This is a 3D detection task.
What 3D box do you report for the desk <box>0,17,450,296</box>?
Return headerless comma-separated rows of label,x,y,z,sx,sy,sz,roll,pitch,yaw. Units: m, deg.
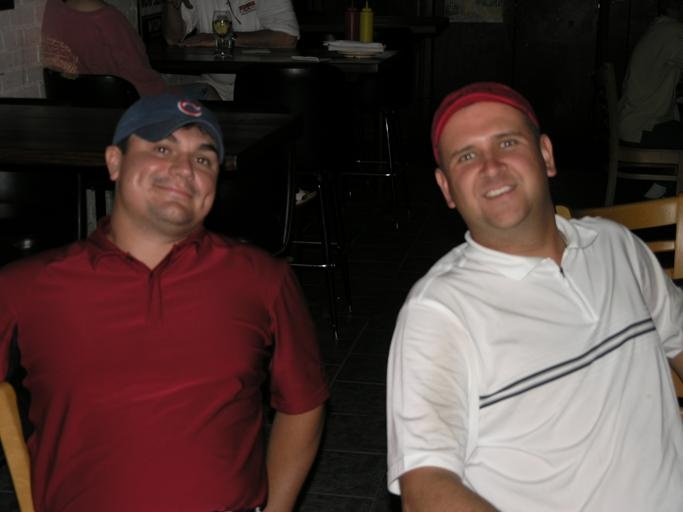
desk,-0.526,-0.538,2.833,1.907,0.813,1.331,0,33,5
